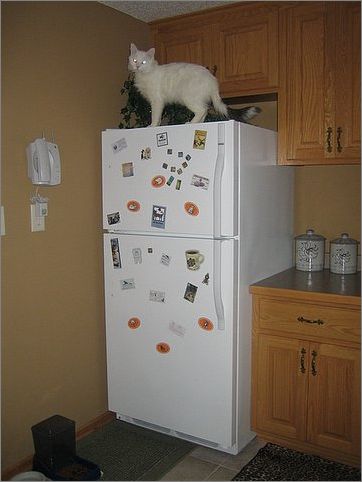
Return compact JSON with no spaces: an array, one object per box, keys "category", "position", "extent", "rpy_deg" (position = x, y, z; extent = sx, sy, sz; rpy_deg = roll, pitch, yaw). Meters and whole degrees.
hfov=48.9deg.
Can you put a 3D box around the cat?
[{"category":"cat","position":[0.062,-0.776,2.032],"extent":[0.659,0.396,0.188],"rpy_deg":[6,6,10]}]

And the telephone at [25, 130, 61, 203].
[{"category":"telephone","position":[-0.613,-0.350,1.784],"extent":[0.075,0.229,0.169],"rpy_deg":[4,11,23]}]

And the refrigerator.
[{"category":"refrigerator","position":[-0.005,0.227,2.026],"extent":[0.906,1.599,0.536],"rpy_deg":[-1,-2,22]}]

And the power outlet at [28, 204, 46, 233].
[{"category":"power outlet","position":[-0.658,-0.105,1.800],"extent":[0.016,0.158,0.118],"rpy_deg":[4,8,21]}]
